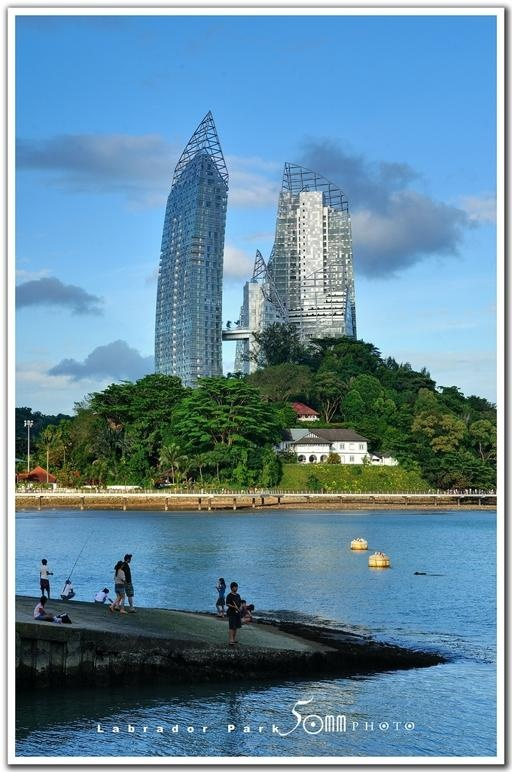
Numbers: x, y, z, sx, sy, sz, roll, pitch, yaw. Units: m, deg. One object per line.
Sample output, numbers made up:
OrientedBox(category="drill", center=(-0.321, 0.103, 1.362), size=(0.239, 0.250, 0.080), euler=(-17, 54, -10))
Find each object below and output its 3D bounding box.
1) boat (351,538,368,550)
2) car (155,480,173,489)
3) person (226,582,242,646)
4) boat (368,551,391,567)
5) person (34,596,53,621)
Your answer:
OrientedBox(category="boat", center=(6.085, 9.264, 69.525), size=(0.772, 0.521, 0.756), euler=(2, -8, -4))
OrientedBox(category="car", center=(-9.717, 10.227, 124.700), size=(1.817, 0.902, 2.590), euler=(-1, 0, -7))
OrientedBox(category="person", center=(-0.587, 6.644, 34.879), size=(0.521, 1.681, 0.585), euler=(-5, -9, 31))
OrientedBox(category="boat", center=(6.329, 8.869, 60.617), size=(0.890, 0.677, 0.871), euler=(4, -9, -24))
OrientedBox(category="person", center=(-6.027, 6.310, 33.439), size=(0.557, 0.742, 0.468), euler=(-3, 1, -24))
